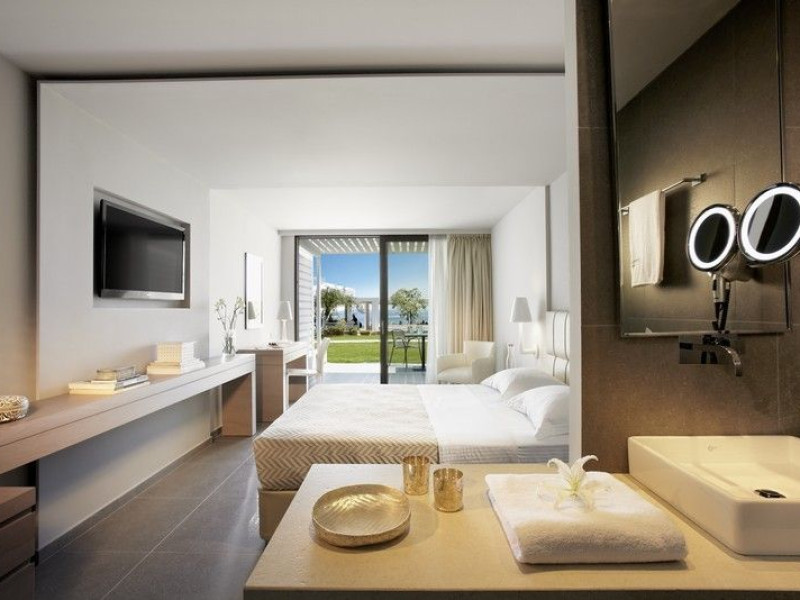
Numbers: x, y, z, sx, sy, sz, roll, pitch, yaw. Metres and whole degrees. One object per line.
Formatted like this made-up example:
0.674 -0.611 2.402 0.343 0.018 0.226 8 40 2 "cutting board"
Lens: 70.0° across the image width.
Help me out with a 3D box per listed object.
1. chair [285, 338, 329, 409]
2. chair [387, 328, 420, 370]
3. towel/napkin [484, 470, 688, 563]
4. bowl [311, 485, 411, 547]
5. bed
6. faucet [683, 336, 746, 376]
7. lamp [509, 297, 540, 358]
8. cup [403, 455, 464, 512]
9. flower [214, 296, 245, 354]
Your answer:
-1.076 0.814 6.523 0.505 0.805 0.508 3 -4 0 "chair"
0.084 0.713 8.645 0.388 0.584 0.391 1 -1 -43 "chair"
0.603 0.732 1.893 0.331 0.098 0.347 0 5 -1 "towel/napkin"
-0.135 0.748 2.004 0.308 0.067 0.377 2 9 1 "bowl"
0.118 0.772 3.711 1.505 1.024 1.568 -1 -1 1 "bed"
1.144 0.186 2.105 0.173 0.116 0.184 0 2 7 "faucet"
1.211 0.286 5.565 0.307 0.670 0.306 -3 -4 35 "lamp"
0.144 0.666 2.155 0.271 0.154 0.191 4 8 44 "cup"
-1.682 0.213 5.584 0.409 0.685 0.340 -1 0 -17 "flower"
